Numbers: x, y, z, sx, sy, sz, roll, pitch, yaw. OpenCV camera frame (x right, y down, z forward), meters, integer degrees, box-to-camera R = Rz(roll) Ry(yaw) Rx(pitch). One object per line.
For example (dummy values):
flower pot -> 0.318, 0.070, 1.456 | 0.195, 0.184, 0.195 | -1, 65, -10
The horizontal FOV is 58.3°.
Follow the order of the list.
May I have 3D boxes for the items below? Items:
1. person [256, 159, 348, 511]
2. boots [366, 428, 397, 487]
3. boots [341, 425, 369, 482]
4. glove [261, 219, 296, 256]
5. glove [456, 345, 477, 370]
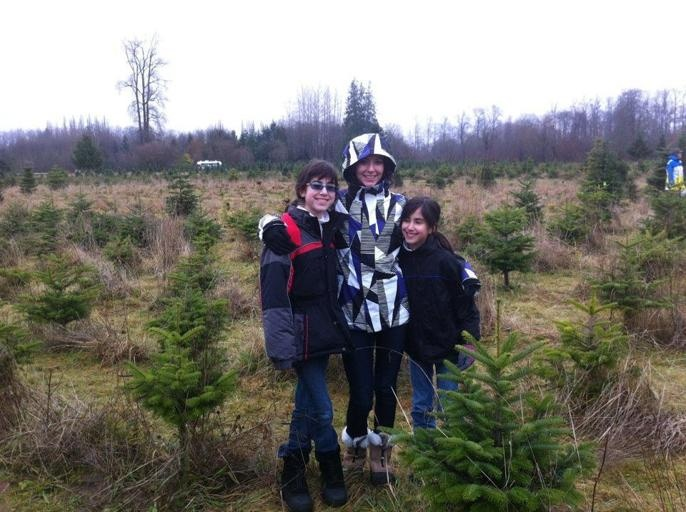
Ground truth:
person -> -0.326, 0.681, 5.441 | 0.761, 3.020, 0.544 | -2, 5, -1
boots -> 0.352, 1.816, 5.652 | 0.246, 0.468, 0.377 | -1, 6, 4
boots -> 0.108, 1.865, 5.702 | 0.163, 0.542, 0.384 | 1, 44, 5
glove -> -0.555, -0.152, 5.373 | 0.303, 0.262, 0.134 | 34, 1, 15
glove -> 1.060, 0.844, 5.399 | 0.197, 0.291, 0.094 | -6, -18, 42
